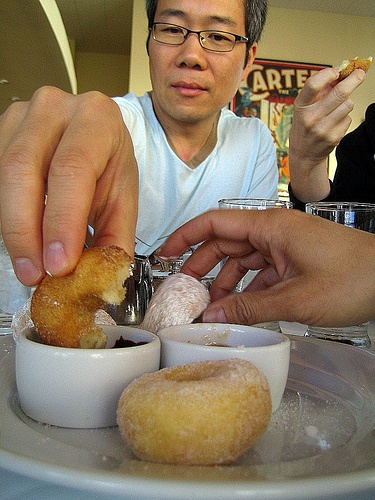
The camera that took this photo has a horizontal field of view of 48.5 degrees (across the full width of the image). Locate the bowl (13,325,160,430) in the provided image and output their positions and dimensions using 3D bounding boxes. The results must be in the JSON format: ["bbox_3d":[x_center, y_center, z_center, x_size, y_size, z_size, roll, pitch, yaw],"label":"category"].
[{"bbox_3d":[-0.069,0.077,0.285,0.075,0.038,0.072,2,1,0],"label":"bowl"}]

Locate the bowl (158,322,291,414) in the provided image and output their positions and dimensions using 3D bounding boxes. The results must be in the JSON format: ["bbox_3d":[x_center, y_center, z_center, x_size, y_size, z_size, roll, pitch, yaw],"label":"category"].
[{"bbox_3d":[0.036,0.081,0.336,0.077,0.043,0.077,0,4,0],"label":"bowl"}]

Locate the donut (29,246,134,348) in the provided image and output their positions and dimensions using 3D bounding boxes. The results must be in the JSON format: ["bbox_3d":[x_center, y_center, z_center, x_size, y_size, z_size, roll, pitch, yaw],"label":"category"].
[{"bbox_3d":[-0.088,0.036,0.367,0.084,0.080,0.029,-43,16,-2],"label":"donut"}]
